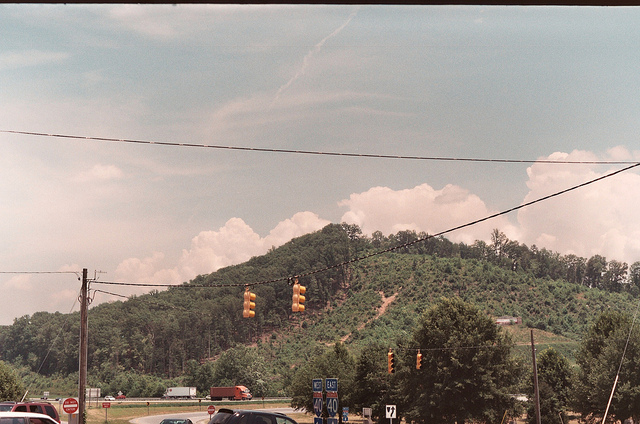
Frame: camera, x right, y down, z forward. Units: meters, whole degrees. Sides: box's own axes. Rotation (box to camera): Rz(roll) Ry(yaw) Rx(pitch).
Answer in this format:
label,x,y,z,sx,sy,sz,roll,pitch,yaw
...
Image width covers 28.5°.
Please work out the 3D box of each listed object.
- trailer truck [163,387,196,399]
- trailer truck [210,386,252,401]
label,x,y,z,sx,sy,sz,roll,pitch,yaw
trailer truck,-54.774,70.445,492.656,10.667,4.380,4.976,2,-10,2
trailer truck,-34.111,68.943,474.022,14.385,6.030,5.472,0,-5,-1
